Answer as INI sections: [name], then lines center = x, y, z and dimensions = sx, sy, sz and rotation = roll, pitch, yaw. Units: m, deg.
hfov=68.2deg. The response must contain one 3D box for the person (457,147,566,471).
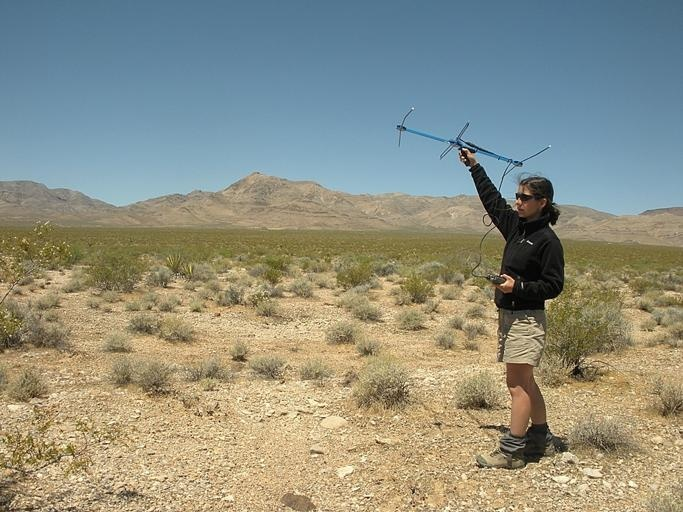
[person]
center = 2.496, 0.878, 7.007
dimensions = 0.986, 3.913, 1.116
rotation = 2, 9, 16
